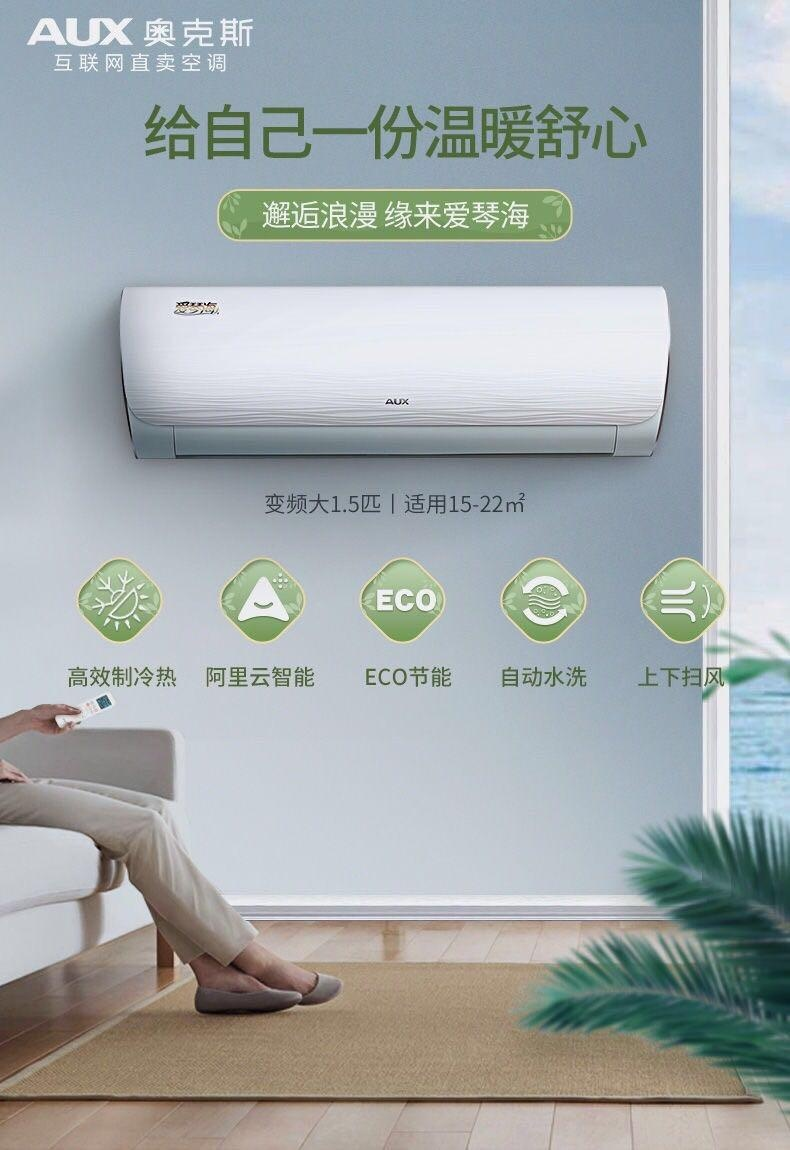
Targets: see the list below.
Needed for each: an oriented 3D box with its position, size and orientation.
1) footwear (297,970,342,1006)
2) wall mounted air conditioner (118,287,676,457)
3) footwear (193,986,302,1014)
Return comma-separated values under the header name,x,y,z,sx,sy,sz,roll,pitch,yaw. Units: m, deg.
name,x,y,z,sx,sy,sz,roll,pitch,yaw
footwear,-0.148,0.780,1.904,0.096,0.026,0.045,2,10,-11
wall mounted air conditioner,0.011,-0.564,2.793,1.413,0.433,0.389,0,30,-1
footwear,-0.263,0.762,1.847,0.206,0.066,0.061,-1,68,-1
